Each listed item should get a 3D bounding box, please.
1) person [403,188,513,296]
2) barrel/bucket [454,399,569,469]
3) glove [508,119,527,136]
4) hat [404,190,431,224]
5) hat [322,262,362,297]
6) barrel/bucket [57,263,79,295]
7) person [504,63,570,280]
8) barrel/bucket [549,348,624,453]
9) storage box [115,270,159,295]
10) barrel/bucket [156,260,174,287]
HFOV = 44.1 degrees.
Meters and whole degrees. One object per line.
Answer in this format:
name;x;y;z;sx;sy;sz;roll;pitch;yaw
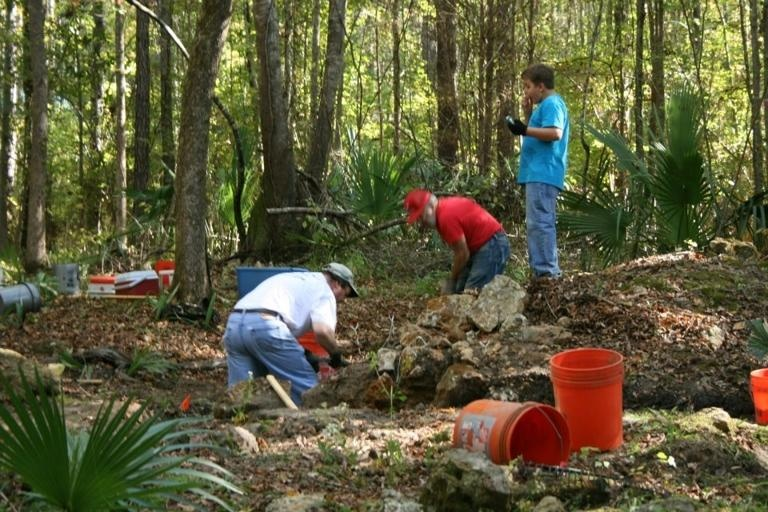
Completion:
person;1.103;-0.217;13.886;1.434;1.527;0.689;1;1;3
barrel/bucket;1.548;2.115;11.369;1.275;1.055;0.920;5;-12;29
glove;1.914;-1.900;13.774;0.281;0.260;0.296;1;2;8
hat;0.486;-0.736;13.810;0.247;0.530;0.303;33;-21;-29
hat;-0.578;0.277;13.190;0.525;0.291;0.359;41;-4;-13
barrel/bucket;-5.475;0.387;16.444;0.393;0.557;0.449;-2;-5;21
person;2.261;-1.260;13.809;0.771;3.094;0.648;1;1;11
barrel/bucket;2.515;1.782;11.961;0.916;1.155;0.870;-3;11;1
storage box;-4.092;0.454;15.677;0.486;0.281;0.480;3;-3;5
barrel/bucket;-3.599;0.299;15.519;0.303;0.418;0.884;0;2;-14
